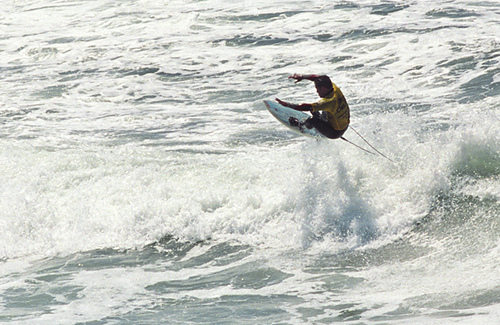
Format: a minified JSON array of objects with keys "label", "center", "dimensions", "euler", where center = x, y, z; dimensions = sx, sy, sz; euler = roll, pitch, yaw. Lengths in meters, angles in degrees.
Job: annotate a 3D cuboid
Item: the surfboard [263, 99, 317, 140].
[{"label":"surfboard","center":[1.535,-1.450,25.902],"dimensions":[0.391,0.590,2.884],"euler":[10,16,-47]}]
